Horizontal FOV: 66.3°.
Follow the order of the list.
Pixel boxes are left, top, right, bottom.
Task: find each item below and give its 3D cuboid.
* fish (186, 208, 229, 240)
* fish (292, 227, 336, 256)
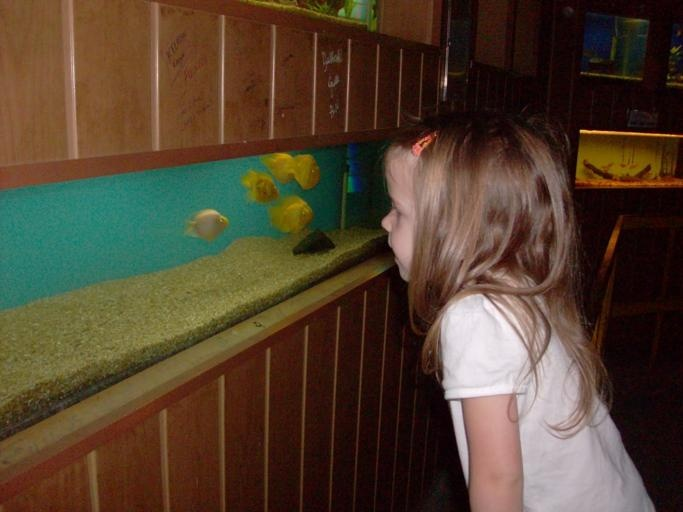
[{"bbox_3d":[-0.395,-0.087,1.524,0.026,0.105,0.165,4,16,21],"label":"fish"},{"bbox_3d":[-0.106,-0.049,2.023,0.053,0.085,0.243,13,21,43],"label":"fish"}]
